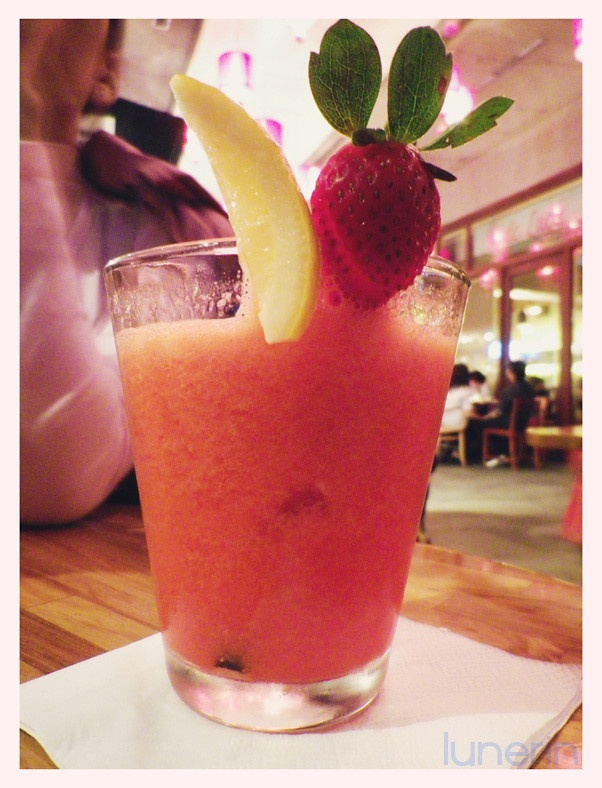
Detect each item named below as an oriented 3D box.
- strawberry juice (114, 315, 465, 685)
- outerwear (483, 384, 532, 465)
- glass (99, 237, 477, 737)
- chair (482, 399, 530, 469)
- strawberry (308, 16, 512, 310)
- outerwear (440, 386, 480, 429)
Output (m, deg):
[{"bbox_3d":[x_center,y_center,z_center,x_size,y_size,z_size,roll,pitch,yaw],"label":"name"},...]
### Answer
[{"bbox_3d":[-0.018,0.068,0.542,0.235,0.271,0.108,3,13,8],"label":"strawberry juice"},{"bbox_3d":[1.557,0.251,5.248,0.409,0.567,0.383,0,13,10],"label":"outerwear"},{"bbox_3d":[-0.010,0.067,0.659,0.365,0.410,0.329,1,2,-1],"label":"glass"},{"bbox_3d":[1.516,0.271,5.251,0.322,0.501,0.306,1,4,30],"label":"chair"},{"bbox_3d":[0.062,-0.168,0.521,0.127,0.177,0.167,-16,17,-13],"label":"strawberry"},{"bbox_3d":[1.001,0.093,4.456,0.254,0.232,0.138,32,-7,-26],"label":"outerwear"}]
